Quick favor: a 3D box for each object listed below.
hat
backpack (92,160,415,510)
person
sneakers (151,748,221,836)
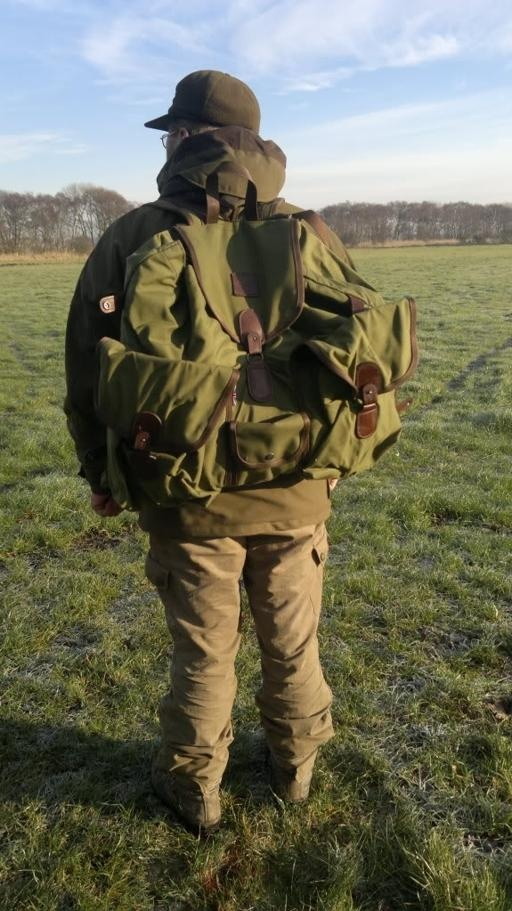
[{"bbox_3d":[-0.177,-1.209,2.282,0.396,0.205,0.269,19,19,28],"label":"hat"},{"bbox_3d":[-0.009,-0.338,1.840,0.787,0.869,0.461,-8,12,-10],"label":"backpack"},{"bbox_3d":[-0.029,0.052,1.958,0.909,2.106,0.759,-3,6,-12],"label":"person"},{"bbox_3d":[-0.274,1.111,2.358,0.136,0.166,0.372,-4,22,-29],"label":"sneakers"}]
